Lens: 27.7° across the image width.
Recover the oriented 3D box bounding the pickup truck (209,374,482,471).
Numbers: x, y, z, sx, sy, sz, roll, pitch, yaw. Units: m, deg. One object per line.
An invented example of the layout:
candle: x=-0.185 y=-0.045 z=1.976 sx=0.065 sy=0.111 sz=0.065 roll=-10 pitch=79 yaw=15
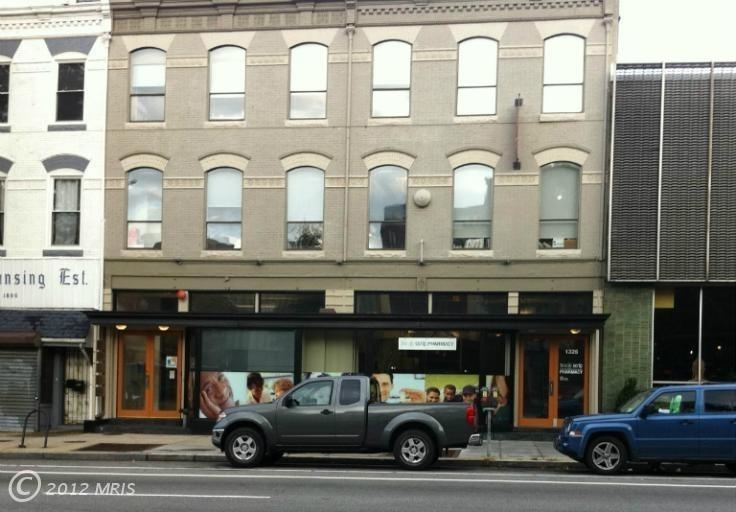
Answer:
pickup truck: x=-0.571 y=4.783 z=44.060 sx=7.252 sy=2.343 sz=2.999 roll=1 pitch=-10 yaw=3

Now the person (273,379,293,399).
person: x=-2.715 y=4.148 z=47.416 sx=0.727 sy=0.668 sz=0.537 roll=2 pitch=-5 yaw=14
